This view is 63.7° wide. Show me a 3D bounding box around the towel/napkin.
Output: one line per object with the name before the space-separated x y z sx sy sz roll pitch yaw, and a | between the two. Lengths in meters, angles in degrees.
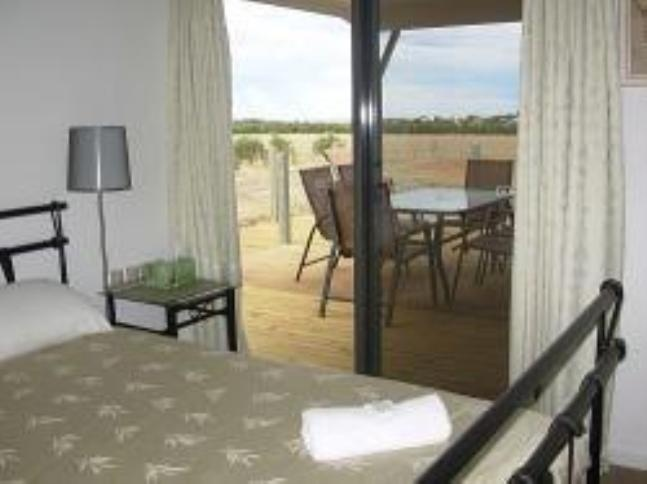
towel/napkin | 0.153 0.535 1.507 0.274 0.080 0.168 -3 15 0

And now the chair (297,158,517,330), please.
chair | 0.595 -0.113 2.720 0.777 0.537 1.048 7 14 35
